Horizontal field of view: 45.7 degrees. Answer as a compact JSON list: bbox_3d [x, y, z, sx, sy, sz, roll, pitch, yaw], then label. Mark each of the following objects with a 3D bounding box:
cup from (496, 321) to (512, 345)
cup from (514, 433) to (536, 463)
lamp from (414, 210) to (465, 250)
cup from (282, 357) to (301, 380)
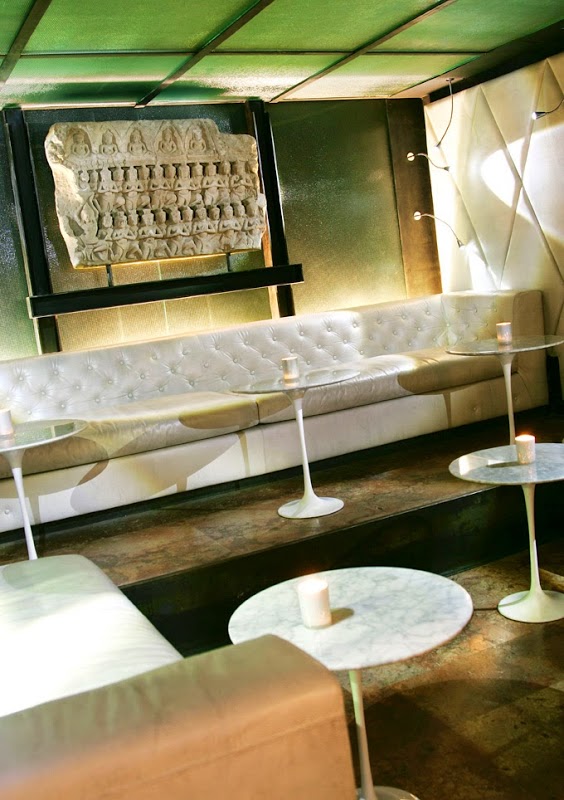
[{"bbox_3d":[1.073,-0.321,3.232,0.066,0.099,0.131,-8,6,16],"label":"cup"},{"bbox_3d":[0.809,0.158,2.184,0.089,0.086,0.082,-1,4,0],"label":"cup"},{"bbox_3d":[1.205,-1.312,5.116,0.092,0.423,0.151,-54,-10,-8],"label":"lamp"},{"bbox_3d":[0.033,-0.136,2.893,0.099,0.101,0.092,-1,6,0],"label":"cup"}]
